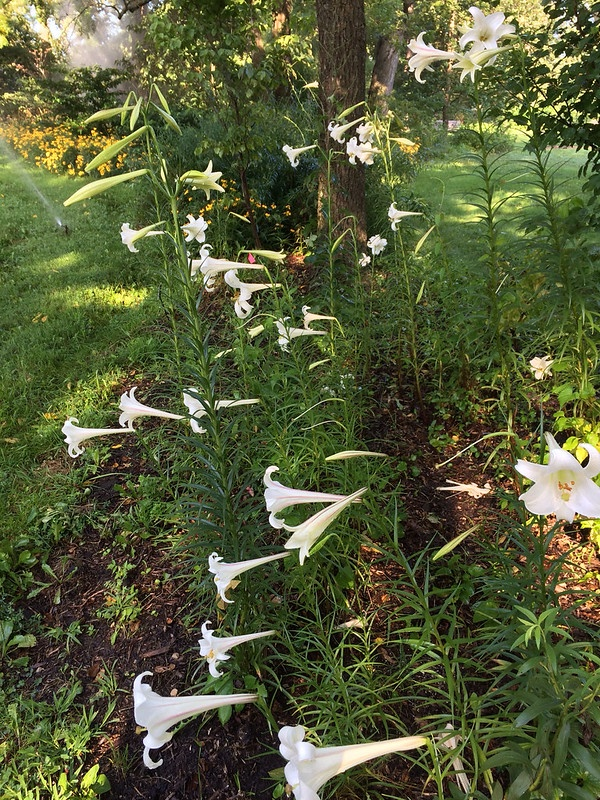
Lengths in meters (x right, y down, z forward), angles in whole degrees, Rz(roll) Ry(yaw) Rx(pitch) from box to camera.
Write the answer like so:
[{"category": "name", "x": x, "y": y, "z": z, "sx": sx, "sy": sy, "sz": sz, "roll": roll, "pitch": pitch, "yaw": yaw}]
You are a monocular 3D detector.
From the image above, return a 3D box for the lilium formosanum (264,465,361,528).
[{"category": "lilium formosanum", "x": 0.040, "y": 0.276, "z": 1.752, "sx": 0.277, "sy": 0.151, "sz": 0.158, "roll": 3, "pitch": 9, "yaw": 0}]

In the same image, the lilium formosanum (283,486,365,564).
[{"category": "lilium formosanum", "x": 0.062, "y": 0.310, "z": 1.650, "sx": 0.187, "sy": 0.291, "sz": 0.186, "roll": -3, "pitch": 28, "yaw": 7}]
